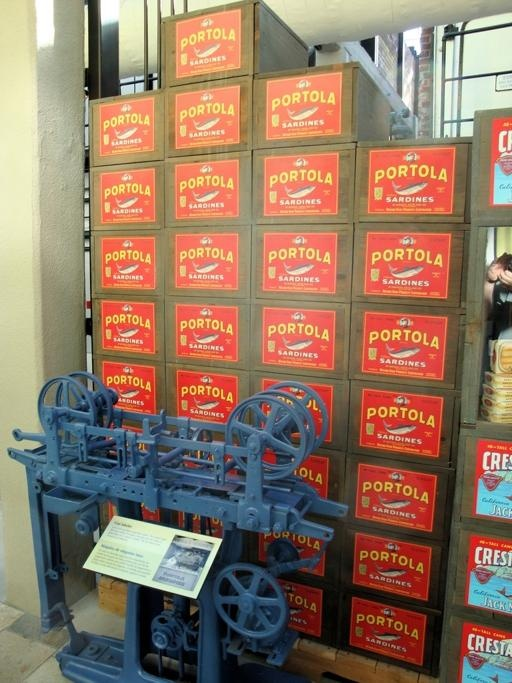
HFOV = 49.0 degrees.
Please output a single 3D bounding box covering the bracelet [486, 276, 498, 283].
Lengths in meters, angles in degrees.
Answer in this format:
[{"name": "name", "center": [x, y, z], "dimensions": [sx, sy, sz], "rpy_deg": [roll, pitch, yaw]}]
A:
[{"name": "bracelet", "center": [0.823, -0.212, 1.962], "dimensions": [0.024, 0.017, 0.024], "rpy_deg": [3, 6, -1]}]
